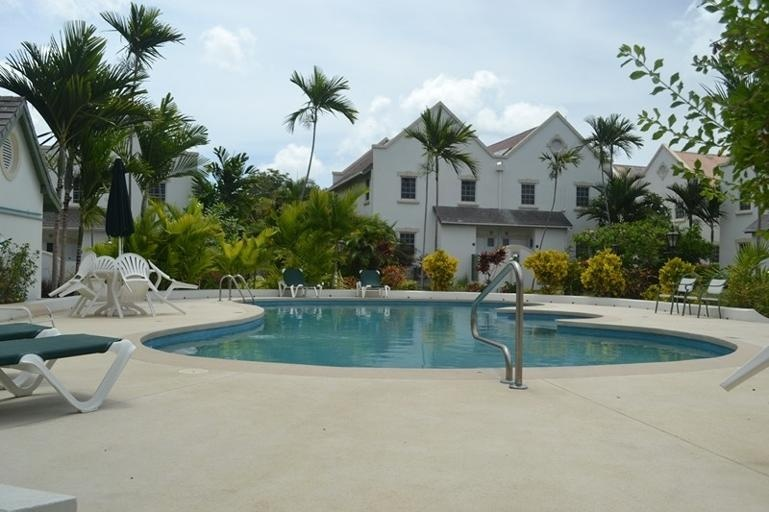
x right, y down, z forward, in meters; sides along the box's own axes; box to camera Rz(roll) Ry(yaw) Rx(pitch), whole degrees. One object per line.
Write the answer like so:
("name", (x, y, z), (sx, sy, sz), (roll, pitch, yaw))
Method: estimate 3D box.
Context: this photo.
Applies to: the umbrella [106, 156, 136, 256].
("umbrella", (-6.614, -1.264, 14.202), (0.590, 2.310, 1.033), (-4, 9, -26))
